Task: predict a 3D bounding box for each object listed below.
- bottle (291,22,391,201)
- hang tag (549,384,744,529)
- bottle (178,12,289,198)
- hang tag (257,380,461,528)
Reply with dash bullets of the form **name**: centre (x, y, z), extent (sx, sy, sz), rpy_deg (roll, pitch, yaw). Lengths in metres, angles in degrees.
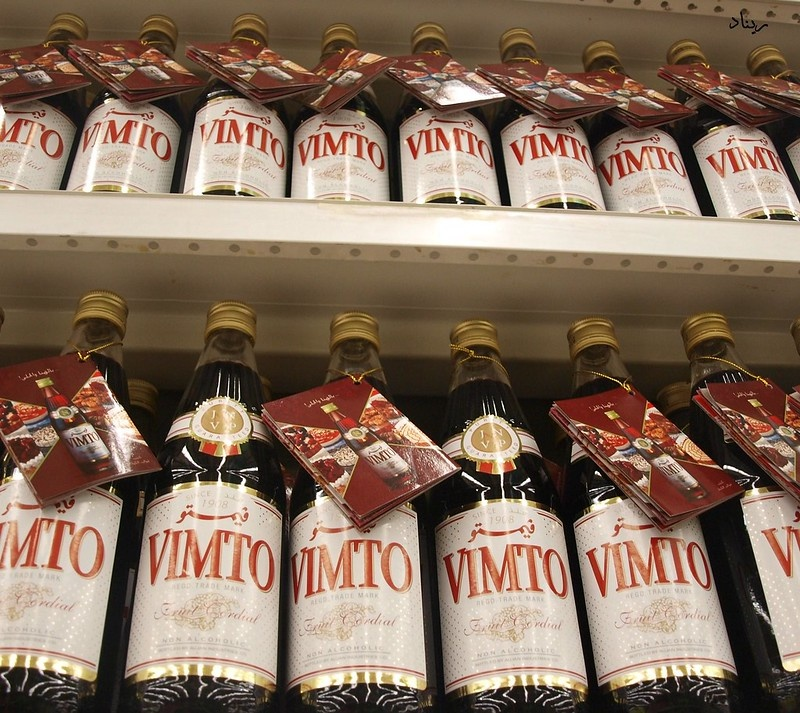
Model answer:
- **bottle**: centre (-0.075, -0.305, 0.916), extent (0.113, 0.262, 0.105), rpy_deg (1, -9, 0)
- **hang tag**: centre (0.238, 0.093, 0.707), extent (0.114, 0.156, 0.024), rpy_deg (-13, -51, -31)
- **bottle**: centre (-0.197, -0.305, 0.892), extent (0.108, 0.251, 0.099), rpy_deg (4, -10, 1)
- **hang tag**: centre (-0.035, 0.084, 0.661), extent (0.129, 0.162, 0.023), rpy_deg (-19, -49, -38)
